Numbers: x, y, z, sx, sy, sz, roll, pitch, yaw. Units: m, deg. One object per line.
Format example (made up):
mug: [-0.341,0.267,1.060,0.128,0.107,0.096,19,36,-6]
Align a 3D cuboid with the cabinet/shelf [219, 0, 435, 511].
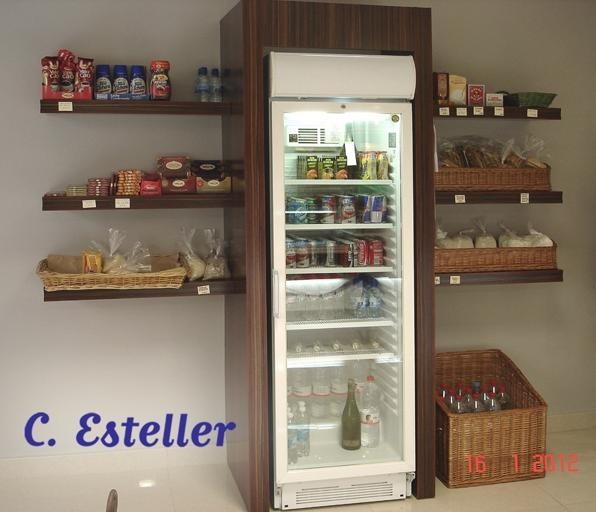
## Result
cabinet/shelf: [0.160,-0.004,2.998,1.053,2.501,0.654,-3,10,-13]

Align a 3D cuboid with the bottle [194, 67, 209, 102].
bottle: [-0.521,-0.936,3.126,0.077,0.221,0.230,-2,9,-9]

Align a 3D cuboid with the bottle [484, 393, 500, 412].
bottle: [1.080,0.819,3.212,0.098,0.110,0.089,-1,-1,-1]

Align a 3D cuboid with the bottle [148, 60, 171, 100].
bottle: [-0.731,-0.926,3.031,0.114,0.212,0.125,-3,9,-13]

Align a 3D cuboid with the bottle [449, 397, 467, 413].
bottle: [0.883,0.831,3.192,0.085,0.098,0.075,-7,10,-23]

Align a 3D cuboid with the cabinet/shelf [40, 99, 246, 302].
cabinet/shelf: [-0.860,-0.302,3.053,1.367,1.070,0.373,0,1,-9]

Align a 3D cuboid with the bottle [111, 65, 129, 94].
bottle: [-0.925,-0.910,2.995,0.088,0.159,0.112,-3,9,-16]

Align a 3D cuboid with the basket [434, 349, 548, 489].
basket: [1.021,0.915,3.334,0.591,0.590,0.542,-2,9,-10]

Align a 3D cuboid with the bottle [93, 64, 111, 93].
bottle: [-1.011,-0.915,2.978,0.091,0.155,0.069,-3,10,-16]

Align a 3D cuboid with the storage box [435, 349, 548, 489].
storage box: [0.940,0.896,3.425,0.782,0.609,0.712,-1,2,-7]

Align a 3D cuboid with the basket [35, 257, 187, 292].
basket: [-0.931,0.125,2.914,0.707,0.111,0.051,-1,9,-9]

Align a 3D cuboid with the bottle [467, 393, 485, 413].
bottle: [0.986,0.819,3.206,0.098,0.109,0.086,-2,5,-3]

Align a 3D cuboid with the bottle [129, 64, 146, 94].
bottle: [-0.838,-0.909,3.007,0.082,0.162,0.105,-3,9,-15]

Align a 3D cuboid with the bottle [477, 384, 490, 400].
bottle: [1.064,0.789,3.312,0.058,0.113,0.057,-2,10,0]

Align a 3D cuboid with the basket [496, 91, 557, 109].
basket: [1.334,-0.902,3.338,0.226,0.049,0.151,1,7,10]
